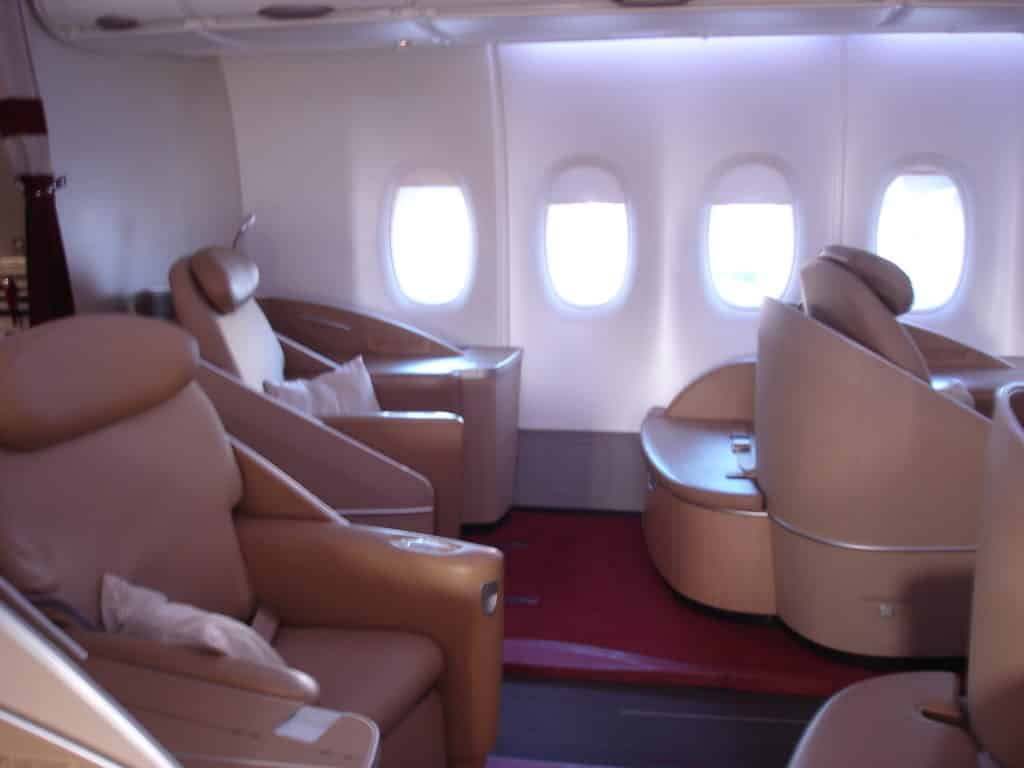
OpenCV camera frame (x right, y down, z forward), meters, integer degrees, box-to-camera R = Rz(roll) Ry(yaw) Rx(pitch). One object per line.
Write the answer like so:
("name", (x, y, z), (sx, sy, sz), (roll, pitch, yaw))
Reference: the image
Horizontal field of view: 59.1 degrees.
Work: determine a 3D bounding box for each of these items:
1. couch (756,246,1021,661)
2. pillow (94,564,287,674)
("couch", (1.079, 0.142, 2.978), (1.043, 1.184, 0.835), (-6, 13, -7))
("pillow", (-0.567, 0.384, 1.582), (0.230, 0.074, 0.215), (23, -10, -13))
